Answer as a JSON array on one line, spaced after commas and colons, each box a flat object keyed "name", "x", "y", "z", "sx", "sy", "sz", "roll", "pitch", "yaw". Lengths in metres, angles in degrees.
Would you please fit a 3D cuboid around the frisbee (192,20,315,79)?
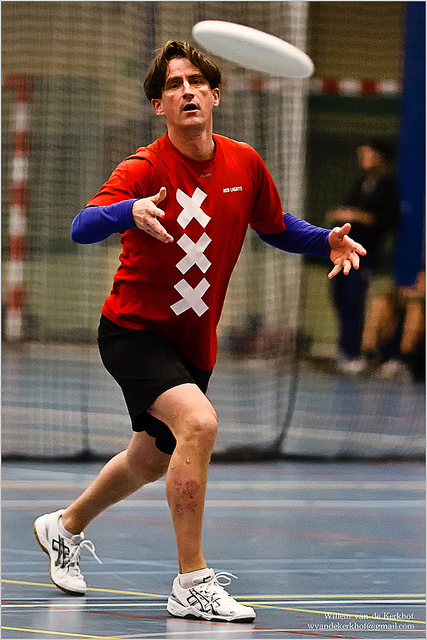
[{"name": "frisbee", "x": 0.149, "y": -0.996, "z": 3.544, "sx": 0.462, "sy": 0.167, "sz": 0.353, "roll": 4, "pitch": 15, "yaw": -4}]

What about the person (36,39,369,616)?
[{"name": "person", "x": -0.113, "y": 0.039, "z": 3.410, "sx": 0.917, "sy": 1.988, "sz": 0.965, "roll": 10, "pitch": 18, "yaw": 12}]
